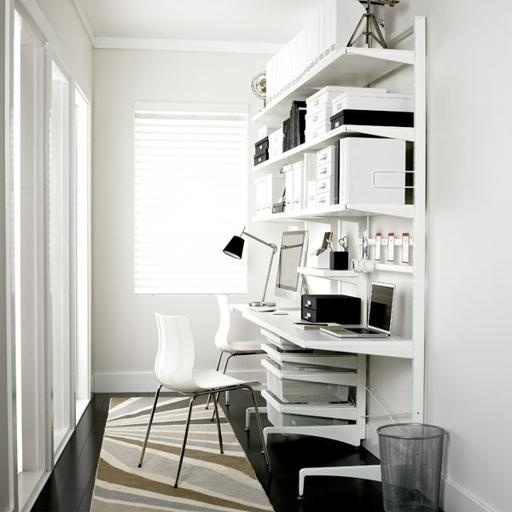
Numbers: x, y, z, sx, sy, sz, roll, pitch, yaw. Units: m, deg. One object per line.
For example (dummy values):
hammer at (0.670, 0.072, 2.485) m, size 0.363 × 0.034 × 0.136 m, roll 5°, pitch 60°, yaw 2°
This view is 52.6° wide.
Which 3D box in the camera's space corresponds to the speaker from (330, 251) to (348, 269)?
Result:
speaker at (0.507, 0.027, 3.145) m, size 0.091 × 0.110 × 0.097 m, roll 4°, pitch -1°, yaw -11°

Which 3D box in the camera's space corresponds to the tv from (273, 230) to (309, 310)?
tv at (0.246, 0.094, 3.507) m, size 0.175 × 0.625 × 0.553 m, roll 1°, pitch 0°, yaw -8°

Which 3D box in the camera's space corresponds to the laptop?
laptop at (0.498, 0.260, 2.535) m, size 0.326 × 0.250 × 0.294 m, roll 0°, pitch -1°, yaw -16°

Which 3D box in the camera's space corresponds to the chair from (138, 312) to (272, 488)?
chair at (-0.274, 0.552, 2.735) m, size 0.704 × 1.280 × 0.664 m, roll 0°, pitch -1°, yaw -21°

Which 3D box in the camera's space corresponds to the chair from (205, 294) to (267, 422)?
chair at (-0.127, 0.664, 3.782) m, size 0.278 × 0.453 × 0.290 m, roll 7°, pitch 12°, yaw -46°

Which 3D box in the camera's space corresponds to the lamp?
lamp at (-0.044, 0.087, 3.793) m, size 0.363 × 0.595 × 0.179 m, roll 9°, pitch 24°, yaw 7°
